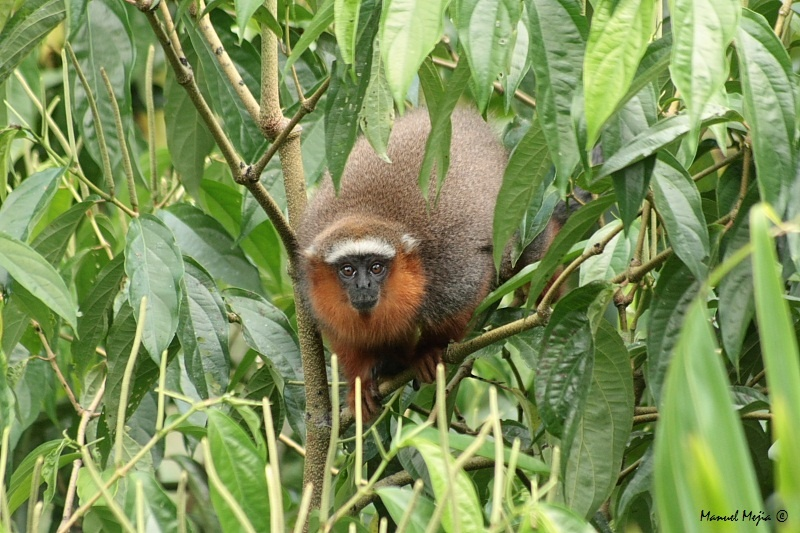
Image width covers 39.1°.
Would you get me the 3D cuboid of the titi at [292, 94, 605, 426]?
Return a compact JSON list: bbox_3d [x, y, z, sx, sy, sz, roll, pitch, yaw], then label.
[{"bbox_3d":[0.134,-0.086,4.745,0.734,1.496,0.838,10,-17,28],"label":"titi"}]
